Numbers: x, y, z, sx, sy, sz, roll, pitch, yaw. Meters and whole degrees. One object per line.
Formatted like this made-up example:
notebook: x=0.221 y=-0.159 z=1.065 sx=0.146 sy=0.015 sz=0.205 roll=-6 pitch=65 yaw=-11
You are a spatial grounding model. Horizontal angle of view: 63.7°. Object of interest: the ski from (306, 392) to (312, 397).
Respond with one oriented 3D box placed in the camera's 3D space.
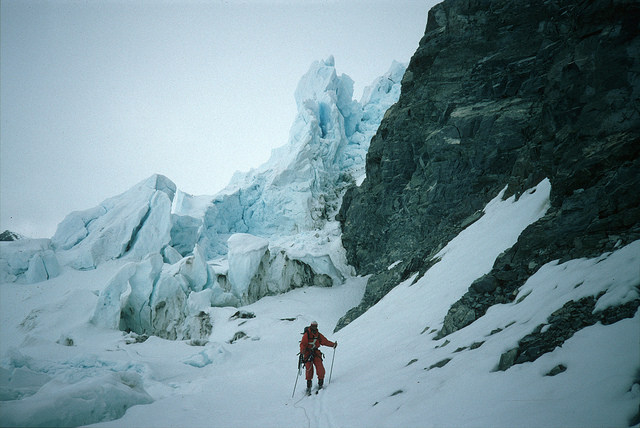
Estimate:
ski: x=-0.437 y=6.925 z=19.906 sx=0.168 sy=0.050 sz=0.123 roll=-1 pitch=-1 yaw=-29
